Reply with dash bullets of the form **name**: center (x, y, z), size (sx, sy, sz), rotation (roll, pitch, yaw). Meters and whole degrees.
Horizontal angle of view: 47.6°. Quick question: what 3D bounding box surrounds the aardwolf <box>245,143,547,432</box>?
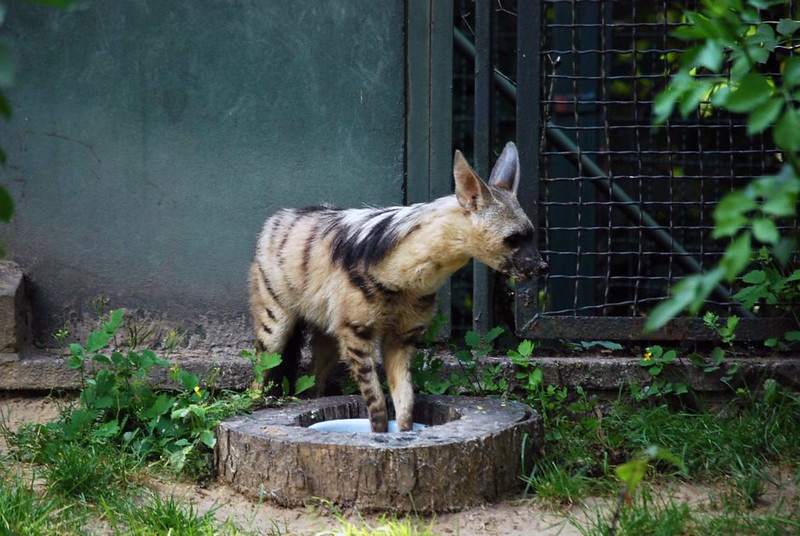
- **aardwolf**: center (-0.191, 0.237, 6.050), size (2.516, 1.896, 0.738), rotation (0, 4, 43)
